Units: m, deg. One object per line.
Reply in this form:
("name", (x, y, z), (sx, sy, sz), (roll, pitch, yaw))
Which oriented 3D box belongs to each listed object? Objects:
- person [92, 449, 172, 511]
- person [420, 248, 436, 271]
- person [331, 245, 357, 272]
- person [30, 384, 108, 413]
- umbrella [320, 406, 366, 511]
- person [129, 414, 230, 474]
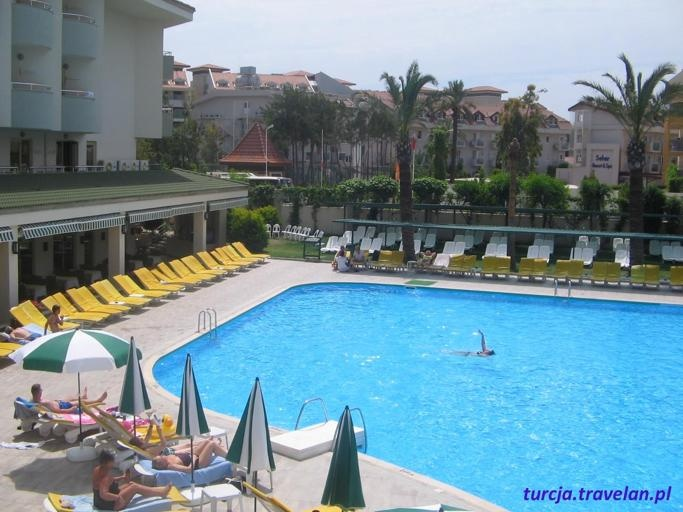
("person", (-4.098, 4.160, 14.192), (1.554, 1.192, 0.831), (0, 4, -32))
("person", (4.090, 0.168, 35.680), (0.561, 0.738, 1.741), (-3, 4, 19))
("person", (0.154, 0.113, 35.273), (1.110, 1.066, 1.170), (0, 14, -9))
("person", (-6.191, 3.302, 16.805), (1.298, 0.489, 0.845), (5, -2, -27))
("umbrella", (0.045, 3.975, 13.702), (0.755, 1.960, 0.815), (2, 13, 1))
("person", (-3.293, 3.883, 15.338), (1.964, 0.959, 0.801), (-2, 2, -24))
